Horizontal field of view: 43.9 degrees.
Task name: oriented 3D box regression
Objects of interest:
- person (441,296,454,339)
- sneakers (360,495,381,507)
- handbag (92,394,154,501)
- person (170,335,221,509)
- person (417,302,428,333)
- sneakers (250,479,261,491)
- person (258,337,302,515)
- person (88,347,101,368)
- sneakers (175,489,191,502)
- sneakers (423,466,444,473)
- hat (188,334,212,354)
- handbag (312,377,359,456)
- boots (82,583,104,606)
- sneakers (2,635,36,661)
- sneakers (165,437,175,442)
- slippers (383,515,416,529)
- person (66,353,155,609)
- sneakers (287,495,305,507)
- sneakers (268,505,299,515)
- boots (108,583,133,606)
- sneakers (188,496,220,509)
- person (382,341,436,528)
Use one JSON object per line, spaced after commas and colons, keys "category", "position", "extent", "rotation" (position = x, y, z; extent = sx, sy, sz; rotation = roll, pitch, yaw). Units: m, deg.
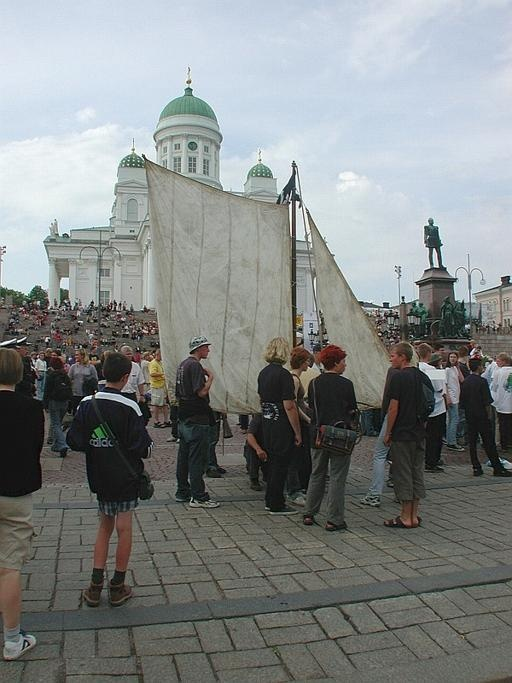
{"category": "person", "position": [8.768, -1.101, 29.233], "extent": [0.532, 1.808, 0.629], "rotation": [0, -2, 15]}
{"category": "sneakers", "position": [1.192, 1.663, 6.645], "extent": [0.092, 0.109, 0.244], "rotation": [5, -1, -30]}
{"category": "handbag", "position": [-0.786, 0.662, 4.092], "extent": [0.379, 0.625, 0.171], "rotation": [-23, 4, 32]}
{"category": "person", "position": [-0.598, 0.811, 6.440], "extent": [0.416, 1.710, 0.517], "rotation": [1, -2, -18]}
{"category": "person", "position": [7.845, -1.051, 30.049], "extent": [0.410, 1.527, 0.887], "rotation": [1, -2, 2]}
{"category": "sneakers", "position": [0.000, 1.665, 7.325], "extent": [0.142, 0.120, 0.080], "rotation": [0, -1, 1]}
{"category": "person", "position": [0.248, 0.823, 6.135], "extent": [0.324, 1.708, 0.535], "rotation": [2, -3, -28]}
{"category": "person", "position": [-5.083, 0.463, 20.091], "extent": [0.566, 0.645, 0.254], "rotation": [-2, 7, -3]}
{"category": "sneakers", "position": [-0.754, 1.603, 6.633], "extent": [0.200, 0.118, 0.088], "rotation": [3, 1, -31]}
{"category": "sneakers", "position": [2.394, 1.719, 8.532], "extent": [0.269, 0.097, 0.092], "rotation": [1, -3, -15]}
{"category": "hat", "position": [-0.589, 0.025, 6.505], "extent": [0.215, 0.104, 0.165], "rotation": [-16, -6, 19]}
{"category": "handbag", "position": [0.731, 0.677, 5.670], "extent": [0.394, 0.562, 0.296], "rotation": [16, -7, -22]}
{"category": "boots", "position": [-0.993, 1.522, 3.855], "extent": [0.105, 0.125, 0.181], "rotation": [1, -2, -15]}
{"category": "sneakers", "position": [-1.171, 1.517, 3.141], "extent": [0.075, 0.082, 0.189], "rotation": [-2, -2, 14]}
{"category": "sneakers", "position": [-1.504, 1.746, 11.269], "extent": [0.184, 0.090, 0.079], "rotation": [2, -4, 10]}
{"category": "slippers", "position": [1.282, 1.619, 5.692], "extent": [0.222, 0.074, 0.102], "rotation": [1, -8, 7]}
{"category": "person", "position": [-0.918, 0.834, 3.974], "extent": [0.515, 1.539, 0.422], "rotation": [1, -2, -15]}
{"category": "sneakers", "position": [0.427, 1.681, 6.684], "extent": [0.101, 0.114, 0.295], "rotation": [5, -17, -14]}
{"category": "sneakers", "position": [0.256, 1.650, 6.212], "extent": [0.314, 0.113, 0.099], "rotation": [0, 1, -10]}
{"category": "boots", "position": [-0.806, 1.517, 3.845], "extent": [0.084, 0.108, 0.183], "rotation": [2, 9, 13]}
{"category": "sneakers", "position": [-0.515, 1.620, 6.383], "extent": [0.325, 0.117, 0.104], "rotation": [0, -2, -3]}
{"category": "person", "position": [1.390, 0.952, 5.853], "extent": [0.371, 1.433, 0.532], "rotation": [0, -2, 28]}
